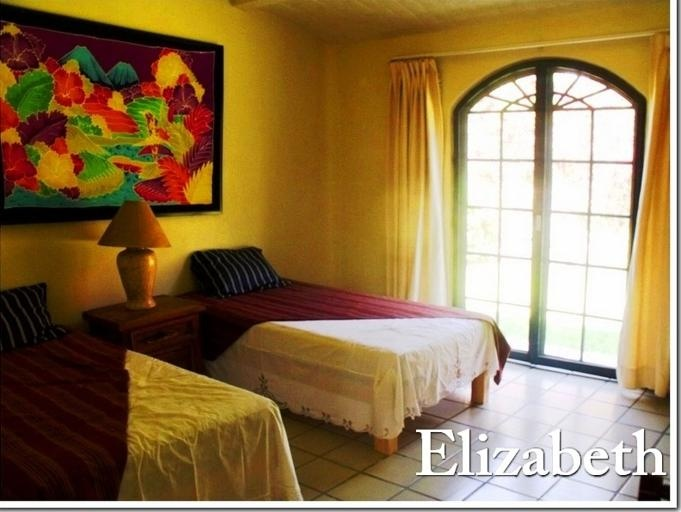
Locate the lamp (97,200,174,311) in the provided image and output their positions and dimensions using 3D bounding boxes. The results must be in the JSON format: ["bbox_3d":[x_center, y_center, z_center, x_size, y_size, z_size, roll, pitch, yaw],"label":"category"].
[{"bbox_3d":[-1.485,-0.009,3.703,0.506,0.765,0.478,1,4,-1],"label":"lamp"}]

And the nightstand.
[{"bbox_3d":[-1.429,0.686,3.769,0.501,0.686,0.682,12,17,39],"label":"nightstand"}]

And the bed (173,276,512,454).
[{"bbox_3d":[-0.291,0.517,3.796,1.873,0.523,1.181,7,16,32],"label":"bed"}]
